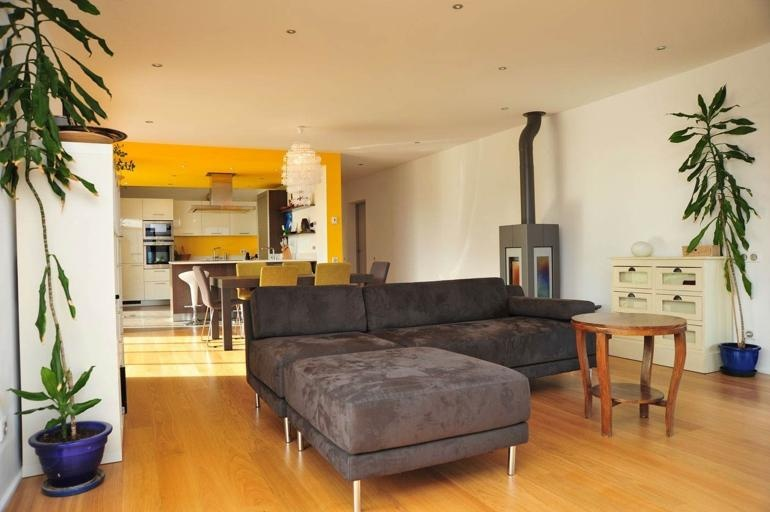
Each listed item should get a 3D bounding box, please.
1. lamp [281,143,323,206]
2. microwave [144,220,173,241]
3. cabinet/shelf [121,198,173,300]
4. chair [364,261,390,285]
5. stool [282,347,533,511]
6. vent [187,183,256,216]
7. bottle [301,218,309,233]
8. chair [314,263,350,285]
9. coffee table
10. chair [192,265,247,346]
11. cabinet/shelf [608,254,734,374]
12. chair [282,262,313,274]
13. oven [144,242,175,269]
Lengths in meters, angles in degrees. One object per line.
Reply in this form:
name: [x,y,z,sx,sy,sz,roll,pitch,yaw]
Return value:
lamp: [-1.163,-1.140,7.751,0.538,0.720,0.544,18,33,21]
microwave: [-5.208,-0.594,12.947,0.745,0.501,0.390,2,-3,-30]
cabinet/shelf: [-5.433,-0.109,12.901,1.185,2.400,0.593,-6,14,-20]
chair: [-0.156,0.243,8.505,0.288,0.398,0.374,1,-3,35]
stool: [-0.038,0.943,3.902,1.178,0.553,1.072,-1,-1,-32]
vent: [-3.269,-1.283,11.580,0.957,0.447,0.938,1,-2,-27]
bottle: [-1.541,-0.583,10.868,0.165,0.252,0.479,-4,12,-13]
chair: [-0.615,0.183,6.653,0.306,0.316,0.323,1,3,-13]
coffee table: [1.948,0.965,4.599,0.848,0.867,0.862,0,1,37]
chair: [-2.260,0.674,7.871,0.690,1.052,0.628,-4,6,-30]
cabinet/shelf: [2.943,0.597,5.726,0.526,1.317,1.254,2,-2,-30]
chair: [-1.306,0.156,8.397,0.324,0.241,0.310,0,4,-21]
oven: [-5.267,-0.008,13.162,0.918,0.797,0.502,2,-2,-29]
